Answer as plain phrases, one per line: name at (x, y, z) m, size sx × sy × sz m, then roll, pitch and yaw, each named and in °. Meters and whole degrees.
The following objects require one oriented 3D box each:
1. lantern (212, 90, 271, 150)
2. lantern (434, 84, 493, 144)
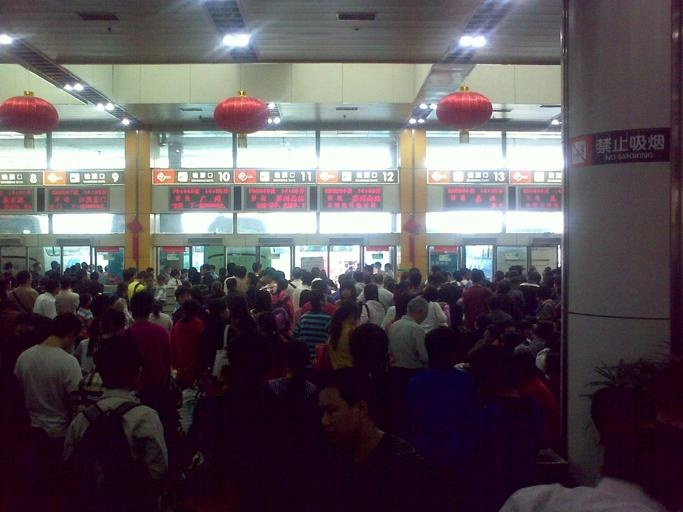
lantern at (-1.249, -1.697, 8.493) m, size 0.623 × 0.721 × 0.657 m, roll 0°, pitch 2°, yaw 17°
lantern at (1.592, -1.820, 8.806) m, size 0.732 × 0.779 × 0.727 m, roll -8°, pitch 8°, yaw -36°
